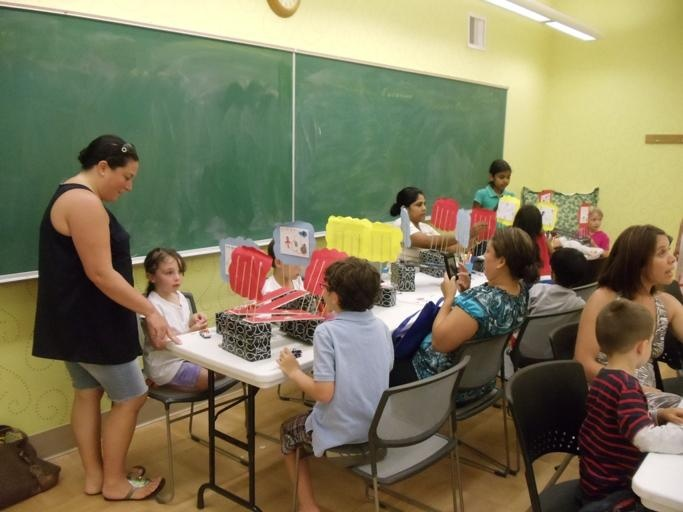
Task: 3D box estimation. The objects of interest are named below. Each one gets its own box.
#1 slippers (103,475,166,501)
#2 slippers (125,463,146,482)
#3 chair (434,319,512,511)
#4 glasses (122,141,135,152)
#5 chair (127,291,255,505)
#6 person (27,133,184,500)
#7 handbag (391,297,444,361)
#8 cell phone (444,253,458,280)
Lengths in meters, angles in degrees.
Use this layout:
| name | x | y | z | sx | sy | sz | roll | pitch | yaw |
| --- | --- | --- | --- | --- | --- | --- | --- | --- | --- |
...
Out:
| name | x | y | z | sx | sy | sz | roll | pitch | yaw |
| --- | --- | --- | --- | --- | --- | --- | --- | --- | --- |
| slippers | -1.054 | 1.163 | 2.484 | 0.225 | 0.070 | 0.110 | 4 | 12 | 10 |
| slippers | -1.093 | 1.150 | 2.591 | 0.058 | 0.043 | 0.082 | 2 | 6 | -5 |
| chair | 0.582 | 0.709 | 2.471 | 0.417 | 0.744 | 0.450 | -5 | 9 | -21 |
| glasses | -1.007 | -0.509 | 2.293 | 0.046 | 0.026 | 0.067 | 5 | 17 | 3 |
| chair | -0.880 | 0.736 | 2.732 | 0.501 | 0.957 | 0.543 | 2 | 5 | 29 |
| person | -1.160 | 0.330 | 2.385 | 0.692 | 1.788 | 0.315 | 6 | 14 | 10 |
| handbag | 0.412 | 0.368 | 2.518 | 0.187 | 0.365 | 0.267 | 37 | 7 | 20 |
| cell phone | 0.672 | 0.070 | 3.000 | 0.023 | 0.240 | 0.122 | -3 | 7 | 42 |
